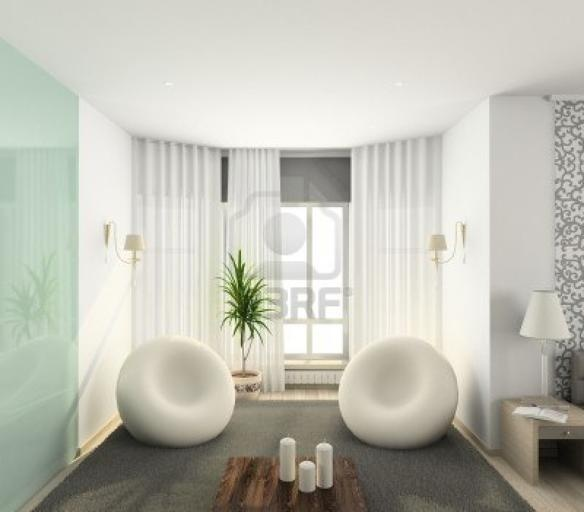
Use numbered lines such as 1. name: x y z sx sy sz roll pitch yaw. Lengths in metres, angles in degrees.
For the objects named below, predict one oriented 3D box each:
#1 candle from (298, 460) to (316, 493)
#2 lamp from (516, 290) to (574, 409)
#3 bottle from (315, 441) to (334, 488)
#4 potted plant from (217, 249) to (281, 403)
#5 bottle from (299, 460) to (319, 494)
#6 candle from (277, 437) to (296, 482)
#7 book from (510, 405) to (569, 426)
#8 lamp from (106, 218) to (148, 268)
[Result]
1. candle: 0.093 1.265 2.698 0.089 0.191 0.100 1 1 25
2. lamp: 2.017 0.712 3.717 0.347 0.920 0.409 3 8 22
3. bottle: 0.196 1.230 2.731 0.091 0.252 0.101 -1 3 -2
4. potted plant: -0.467 0.708 5.140 0.669 1.575 0.787 -2 8 -11
5. bottle: 0.094 1.277 2.694 0.090 0.164 0.091 -1 -3 0
6. candle: -0.023 1.224 2.797 0.089 0.244 0.099 2 4 20
7. book: 1.892 1.198 3.509 0.357 0.071 0.241 6 11 34
8. lamp: -1.627 -0.075 4.539 0.362 0.600 0.255 -2 10 -15
